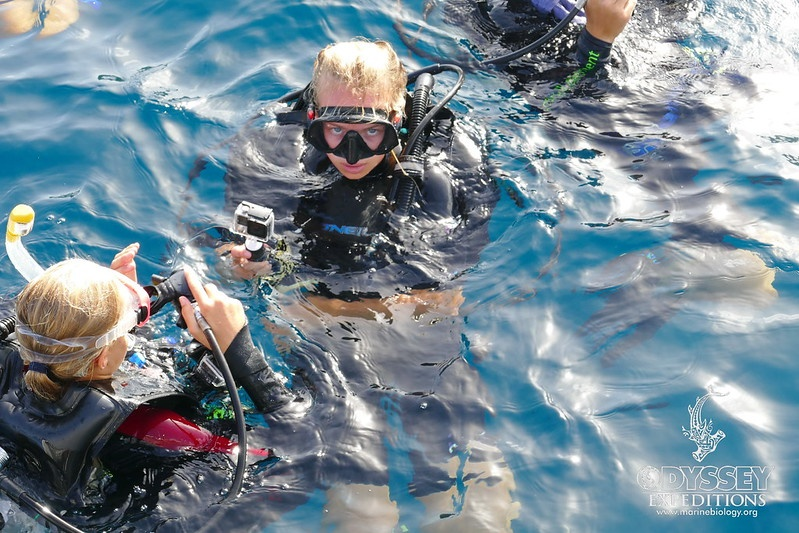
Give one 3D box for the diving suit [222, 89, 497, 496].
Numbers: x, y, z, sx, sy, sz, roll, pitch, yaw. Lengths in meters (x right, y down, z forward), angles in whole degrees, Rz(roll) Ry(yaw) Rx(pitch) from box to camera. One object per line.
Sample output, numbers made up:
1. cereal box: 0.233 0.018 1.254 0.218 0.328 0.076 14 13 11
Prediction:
1. diving suit: -0.036 0.393 5.604 2.133 0.983 2.483 -3 69 0
